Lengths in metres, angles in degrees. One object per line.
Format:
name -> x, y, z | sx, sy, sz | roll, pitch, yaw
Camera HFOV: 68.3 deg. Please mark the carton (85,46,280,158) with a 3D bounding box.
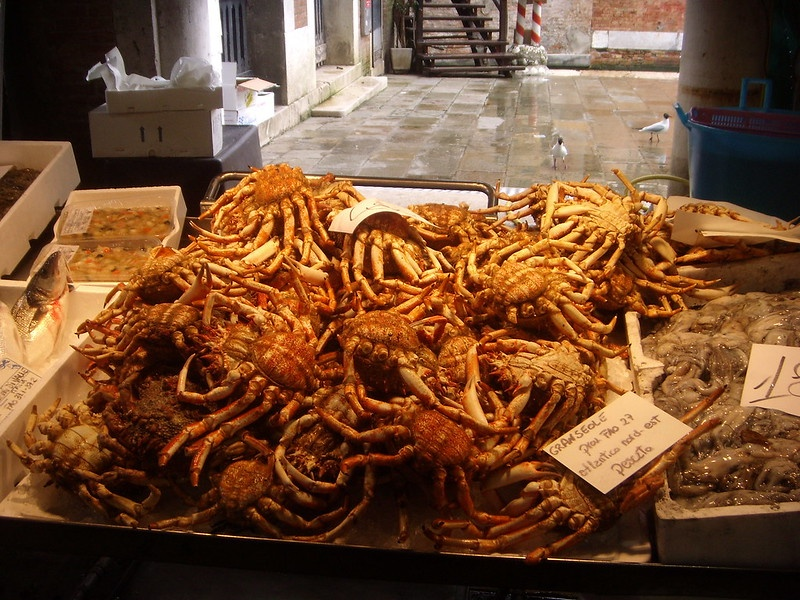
carton -> -1.686, -1.613, 4.687 | 0.899, 0.653, 2.476 | -5, 22, -6
